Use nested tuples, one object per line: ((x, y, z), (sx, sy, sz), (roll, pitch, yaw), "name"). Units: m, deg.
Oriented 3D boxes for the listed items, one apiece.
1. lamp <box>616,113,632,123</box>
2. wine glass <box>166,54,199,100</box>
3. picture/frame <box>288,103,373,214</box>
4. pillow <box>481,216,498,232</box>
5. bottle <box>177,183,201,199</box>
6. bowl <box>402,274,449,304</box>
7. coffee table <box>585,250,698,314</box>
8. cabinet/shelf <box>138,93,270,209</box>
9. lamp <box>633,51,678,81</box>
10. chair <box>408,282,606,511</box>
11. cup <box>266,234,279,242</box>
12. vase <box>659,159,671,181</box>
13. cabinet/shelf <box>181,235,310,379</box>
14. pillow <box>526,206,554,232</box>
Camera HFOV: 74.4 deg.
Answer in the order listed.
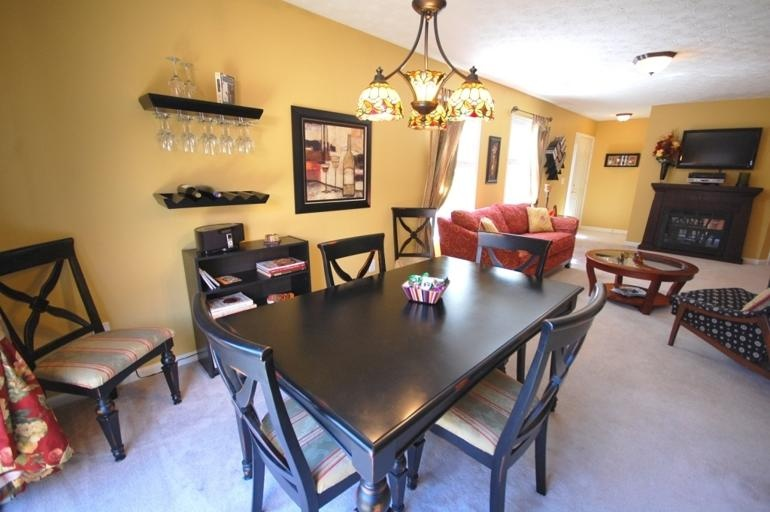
((4.053, -2.382, 8.683), (0.324, 0.125, 0.317), (-1, 7, 2), "lamp")
((-1.738, -1.539, 4.350), (0.215, 0.325, 0.240), (-5, 15, -20), "wine glass")
((-0.605, -1.043, 5.235), (1.120, 1.163, 0.082), (-10, 19, -37), "picture/frame")
((1.223, -0.376, 6.149), (0.268, 0.166, 0.086), (33, -21, -32), "pillow")
((-1.719, -0.577, 4.436), (0.192, 0.051, 0.110), (27, 44, 32), "bottle")
((0.300, 0.240, 3.881), (0.243, 0.118, 0.278), (-14, 19, -41), "bowl")
((3.046, 0.283, 6.160), (1.137, 0.604, 1.247), (14, 12, 24), "coffee table")
((-1.579, -0.921, 4.612), (1.060, 0.895, 0.289), (-9, 12, -44), "cabinet/shelf")
((3.025, -2.195, 5.706), (0.455, 0.205, 0.364), (5, 14, 18), "lamp")
((0.825, 1.045, 3.667), (1.049, 1.750, 0.941), (23, 33, 39), "chair")
((-1.091, -0.183, 4.867), (0.081, 0.035, 0.107), (-10, 20, -35), "cup")
((4.517, -1.402, 8.215), (0.150, 0.347, 0.235), (8, 16, 27), "vase")
((-1.180, 0.402, 4.097), (0.357, 1.110, 1.064), (16, 25, 41), "cabinet/shelf")
((2.210, -0.557, 7.312), (0.393, 0.364, 0.127), (-2, -11, -22), "pillow")
